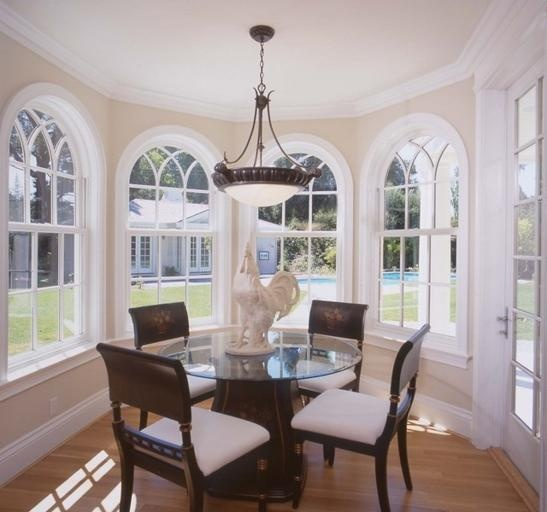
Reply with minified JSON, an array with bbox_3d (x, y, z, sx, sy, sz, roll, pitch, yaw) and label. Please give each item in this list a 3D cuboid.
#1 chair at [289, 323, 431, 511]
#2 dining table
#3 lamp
[{"bbox_3d":[0.545,0.923,3.207,0.875,1.536,0.827,3,-1,30],"label":"chair"},{"bbox_3d":[0.006,1.036,2.893,0.994,0.685,1.067,-6,-9,-26],"label":"dining table"},{"bbox_3d":[-0.056,-1.134,3.719,0.807,1.599,0.887,-4,-8,29],"label":"lamp"}]
